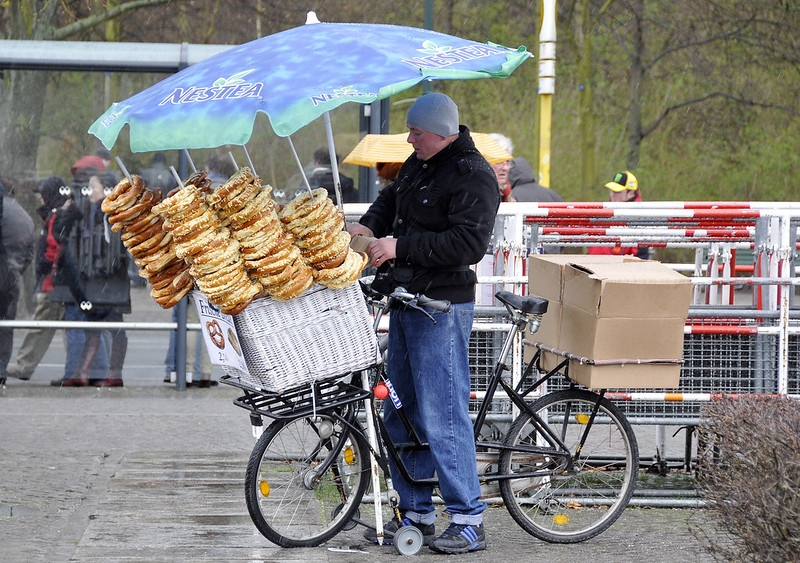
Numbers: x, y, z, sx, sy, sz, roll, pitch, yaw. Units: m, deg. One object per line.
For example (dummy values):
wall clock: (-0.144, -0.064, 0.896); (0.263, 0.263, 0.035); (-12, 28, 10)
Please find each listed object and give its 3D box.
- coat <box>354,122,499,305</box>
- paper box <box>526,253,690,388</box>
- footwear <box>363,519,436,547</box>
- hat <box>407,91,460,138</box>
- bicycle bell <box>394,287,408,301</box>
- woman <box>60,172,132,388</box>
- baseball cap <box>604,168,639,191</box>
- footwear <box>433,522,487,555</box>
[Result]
coat: (0.222, -0.588, 14.798); (0.856, 1.459, 1.456); (3, 16, -33)
paper box: (1.715, 0.379, 15.368); (1.587, 1.029, 1.585); (4, 4, 23)
footwear: (0.007, 2.144, 14.694); (0.599, 0.308, 0.246); (2, -6, -3)
hat: (0.333, -1.415, 14.604); (0.434, 0.378, 0.452); (3, 5, -10)
bicycle bell: (0.023, 0.115, 14.368); (0.093, 0.102, 0.097); (2, 0, 24)
woman: (-3.404, -0.129, 19.254); (0.768, 2.636, 0.709); (1, -9, 45)
baseball cap: (2.453, -1.097, 18.759); (0.304, 0.211, 0.228); (1, 2, -6)
footwear: (0.513, 2.220, 14.707); (0.437, 0.260, 0.210); (1, -1, -15)
